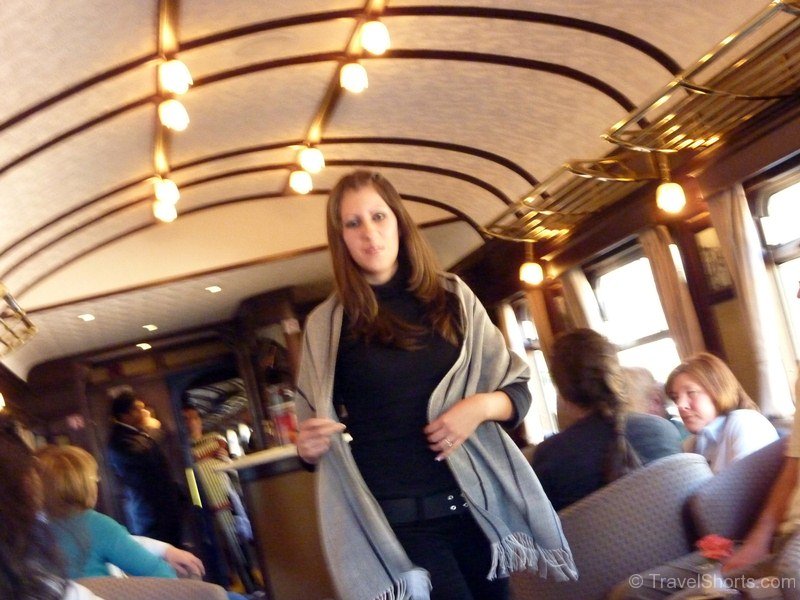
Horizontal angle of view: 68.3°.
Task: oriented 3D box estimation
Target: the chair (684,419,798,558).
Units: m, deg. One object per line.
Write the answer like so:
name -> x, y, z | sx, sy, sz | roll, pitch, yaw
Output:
chair -> 1.056, 0.578, 1.809 | 0.360, 0.190, 0.101 | -10, -14, -9

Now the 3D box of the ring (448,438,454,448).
ring -> 0.112, 0.314, 1.299 | 0.014, 0.017, 0.005 | 5, -31, -26

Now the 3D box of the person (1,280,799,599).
person -> 0.007, 0.511, 2.160 | 1.648, 0.382, 1.707 | 0, -3, -33
